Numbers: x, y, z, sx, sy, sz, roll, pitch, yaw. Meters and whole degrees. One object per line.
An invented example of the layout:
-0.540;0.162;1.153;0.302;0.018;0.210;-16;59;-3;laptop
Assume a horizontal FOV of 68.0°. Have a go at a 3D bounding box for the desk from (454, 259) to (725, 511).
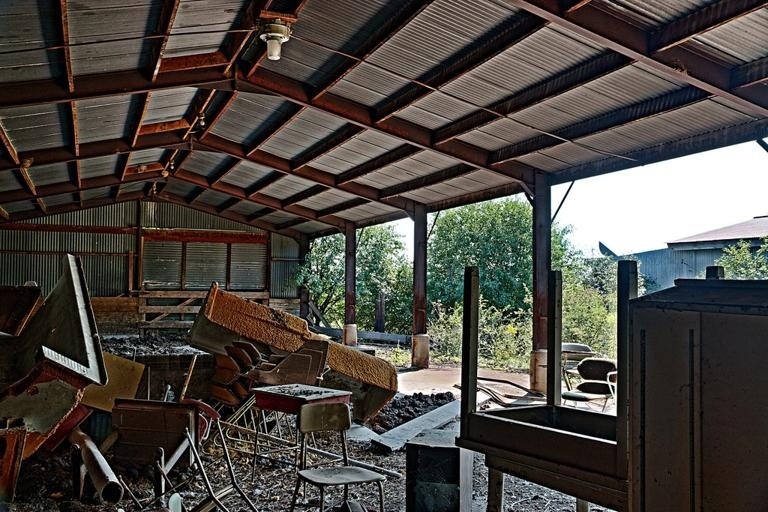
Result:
1.374;1.101;5.145;1.360;2.020;1.378;1;-7;-1;desk
